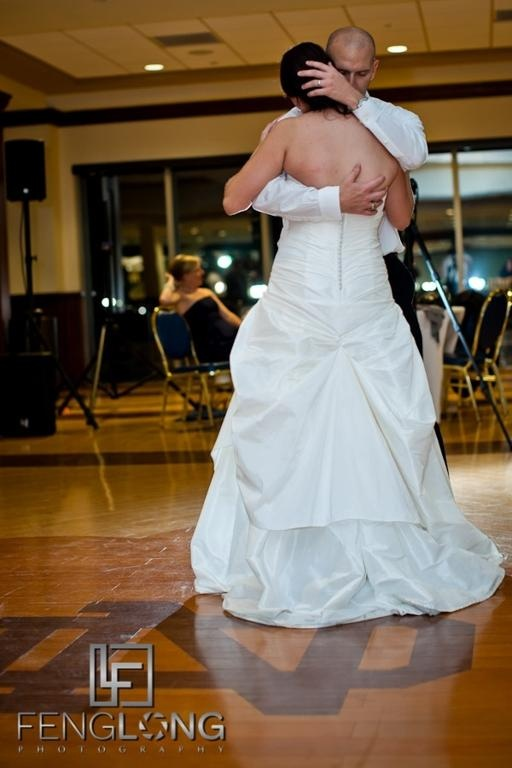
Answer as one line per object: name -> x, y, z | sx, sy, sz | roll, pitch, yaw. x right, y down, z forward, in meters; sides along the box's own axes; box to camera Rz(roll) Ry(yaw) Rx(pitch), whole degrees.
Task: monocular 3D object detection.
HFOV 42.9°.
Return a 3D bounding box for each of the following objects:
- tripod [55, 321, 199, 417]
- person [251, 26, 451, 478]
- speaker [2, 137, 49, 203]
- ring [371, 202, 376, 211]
tripod -> -1.587, -0.154, 7.871 | 1.216, 1.637, 1.214 | -1, -8, -3
person -> 0.375, -0.544, 2.244 | 0.425, 1.295, 1.378 | -4, 0, 18
speaker -> -2.170, -2.025, 6.142 | 0.353, 0.560, 0.215 | -3, 0, -23
ring -> 0.317, -0.482, 1.766 | 0.009, 0.021, 0.015 | 6, -15, -27
